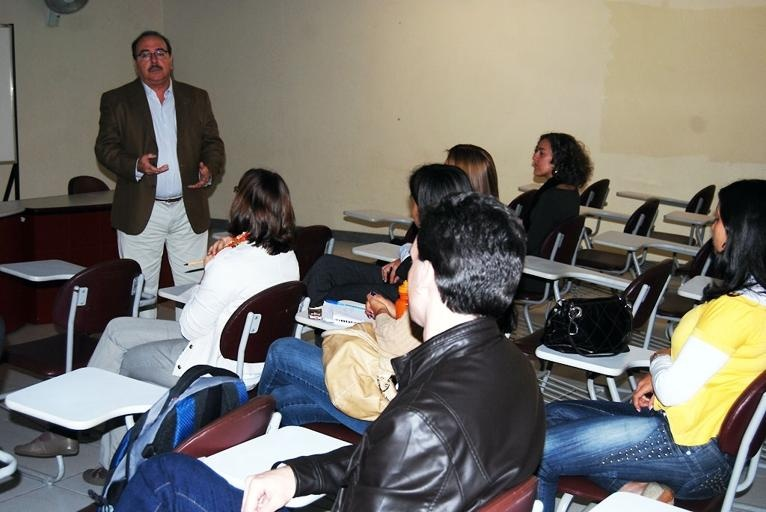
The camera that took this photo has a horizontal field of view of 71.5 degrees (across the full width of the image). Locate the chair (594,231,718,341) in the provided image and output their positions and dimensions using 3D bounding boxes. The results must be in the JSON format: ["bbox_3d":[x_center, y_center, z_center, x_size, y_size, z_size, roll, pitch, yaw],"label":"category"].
[{"bbox_3d":[1.754,0.184,3.450,0.639,0.943,0.738,5,12,40],"label":"chair"}]

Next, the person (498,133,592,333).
[{"bbox_3d":[1.283,-0.314,4.610,0.927,1.529,0.605,18,26,38],"label":"person"}]

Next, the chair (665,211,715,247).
[{"bbox_3d":[2.998,-0.266,5.176,0.381,0.430,0.424,9,17,37],"label":"chair"}]

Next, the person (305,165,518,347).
[{"bbox_3d":[0.053,-0.040,3.202,0.920,1.323,0.986,11,17,33],"label":"person"}]

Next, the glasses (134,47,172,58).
[{"bbox_3d":[-1.567,-1.370,3.609,0.231,0.098,0.152,-3,16,-24],"label":"glasses"}]

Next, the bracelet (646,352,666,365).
[{"bbox_3d":[1.115,0.412,2.178,0.063,0.031,0.075,-2,-4,-31],"label":"bracelet"}]

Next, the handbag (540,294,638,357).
[{"bbox_3d":[0.954,0.297,2.436,0.410,0.251,0.232,-3,20,-5],"label":"handbag"}]
